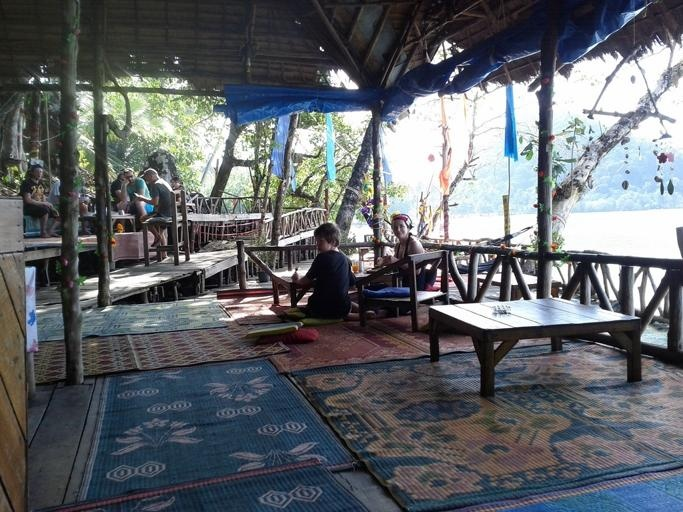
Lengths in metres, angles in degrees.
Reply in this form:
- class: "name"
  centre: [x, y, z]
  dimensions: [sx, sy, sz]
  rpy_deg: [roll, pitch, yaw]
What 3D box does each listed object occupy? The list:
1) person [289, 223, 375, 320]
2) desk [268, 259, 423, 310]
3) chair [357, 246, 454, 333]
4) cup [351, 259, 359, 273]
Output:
- class: "person"
  centre: [-0.178, 0.180, 6.778]
  dimensions: [0.857, 1.164, 0.885]
  rpy_deg: [0, -5, 43]
- class: "desk"
  centre: [0.188, 0.377, 6.450]
  dimensions: [1.013, 0.502, 0.863]
  rpy_deg: [1, 1, 19]
- class: "chair"
  centre: [0.826, 0.408, 6.621]
  dimensions: [0.937, 0.880, 1.046]
  rpy_deg: [-1, 3, 28]
- class: "cup"
  centre: [0.320, 0.205, 11.623]
  dimensions: [0.197, 0.177, 0.239]
  rpy_deg: [1, -3, -2]
